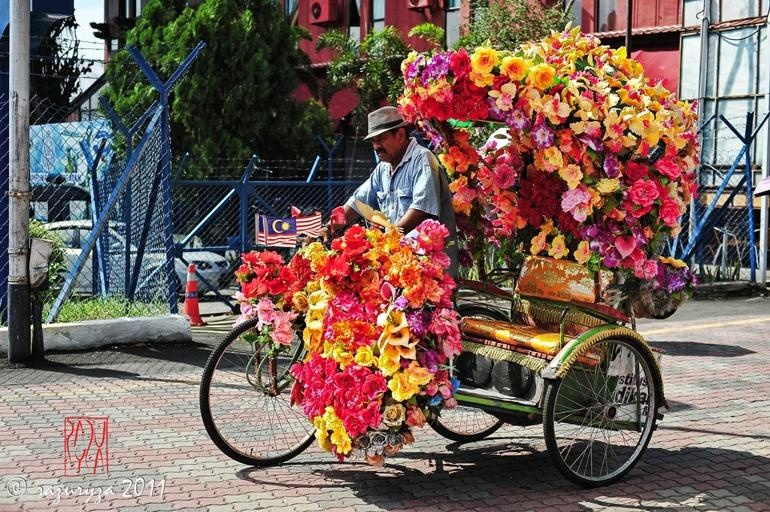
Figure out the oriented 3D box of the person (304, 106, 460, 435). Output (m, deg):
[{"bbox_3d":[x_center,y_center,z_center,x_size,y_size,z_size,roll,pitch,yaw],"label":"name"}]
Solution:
[{"bbox_3d":[0.070,-0.296,9.841,0.940,2.019,0.756,0,0,-26],"label":"person"}]
